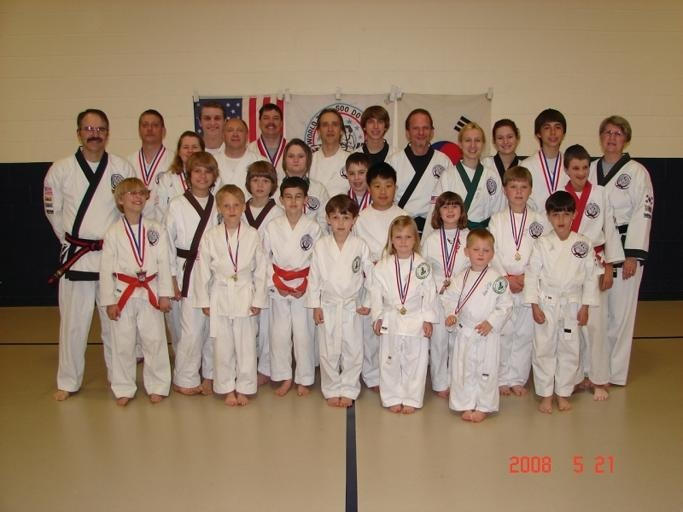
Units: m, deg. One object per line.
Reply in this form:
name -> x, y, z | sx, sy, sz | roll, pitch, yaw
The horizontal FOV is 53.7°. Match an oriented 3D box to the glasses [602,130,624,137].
glasses -> 2.756, -1.258, 6.829 | 0.172, 0.056, 0.031 | 1, 8, 10
